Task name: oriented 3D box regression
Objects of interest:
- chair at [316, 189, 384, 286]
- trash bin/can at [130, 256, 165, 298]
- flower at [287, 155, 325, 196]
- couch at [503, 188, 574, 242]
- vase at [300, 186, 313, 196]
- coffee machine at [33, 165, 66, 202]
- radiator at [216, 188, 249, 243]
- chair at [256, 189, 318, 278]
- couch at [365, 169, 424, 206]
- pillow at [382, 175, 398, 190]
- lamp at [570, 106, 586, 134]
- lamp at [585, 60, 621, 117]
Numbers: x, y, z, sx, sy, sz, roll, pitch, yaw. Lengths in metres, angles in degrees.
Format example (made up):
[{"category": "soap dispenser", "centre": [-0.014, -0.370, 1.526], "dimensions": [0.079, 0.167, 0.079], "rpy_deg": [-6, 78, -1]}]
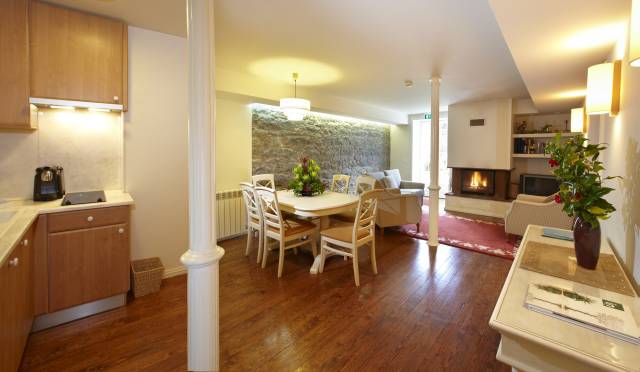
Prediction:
[{"category": "chair", "centre": [0.401, 0.630, 5.323], "dimensions": [0.908, 1.268, 0.877], "rpy_deg": [4, 15, 15]}, {"category": "trash bin/can", "centre": [-2.301, 1.198, 4.902], "dimensions": [0.417, 0.399, 0.320], "rpy_deg": [-8, 17, -28]}, {"category": "flower", "centre": [-0.254, -0.179, 6.145], "dimensions": [0.648, 0.613, 0.633], "rpy_deg": [-1, 3, -18]}, {"category": "couch", "centre": [3.577, 0.468, 6.210], "dimensions": [1.073, 0.965, 1.053], "rpy_deg": [-3, 5, -31]}, {"category": "vase", "centre": [-0.215, 0.077, 5.973], "dimensions": [0.161, 0.095, 0.165], "rpy_deg": [5, 9, 28]}, {"category": "coffee machine", "centre": [-3.287, -0.027, 4.455], "dimensions": [0.318, 0.413, 0.450], "rpy_deg": [1, -2, -40]}, {"category": "radiator", "centre": [-1.552, 0.496, 6.415], "dimensions": [0.104, 0.959, 1.045], "rpy_deg": [0, 0, 44]}, {"category": "chair", "centre": [-0.495, 0.596, 5.524], "dimensions": [0.847, 1.202, 0.666], "rpy_deg": [-11, 19, -37]}, {"category": "couch", "centre": [1.957, -0.092, 9.131], "dimensions": [0.917, 1.050, 1.669], "rpy_deg": [-3, -2, 33]}, {"category": "pillow", "centre": [1.646, -0.088, 8.731], "dimensions": [0.116, 0.217, 0.333], "rpy_deg": [-21, -3, 32]}, {"category": "lamp", "centre": [3.934, -0.999, 5.596], "dimensions": [0.208, 0.390, 0.412], "rpy_deg": [10, 18, 33]}, {"category": "lamp", "centre": [3.159, -1.080, 4.066], "dimensions": [0.366, 0.596, 0.285], "rpy_deg": [5, 16, 17]}]
